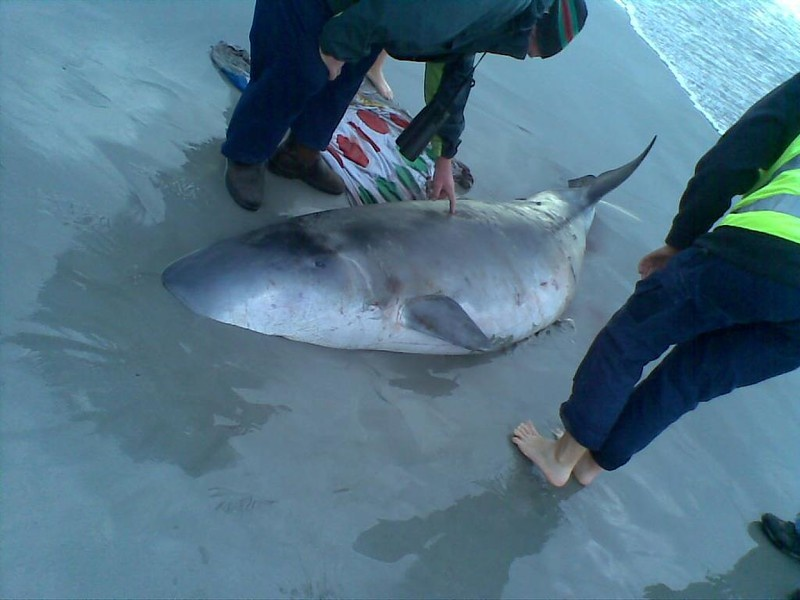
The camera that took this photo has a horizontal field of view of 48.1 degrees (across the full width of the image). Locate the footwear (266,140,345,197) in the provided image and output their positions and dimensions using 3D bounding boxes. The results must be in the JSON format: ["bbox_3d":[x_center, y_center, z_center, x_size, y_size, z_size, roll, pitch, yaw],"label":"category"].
[{"bbox_3d":[-0.494,-0.687,4.810,0.497,0.310,0.159,15,64,-31],"label":"footwear"}]

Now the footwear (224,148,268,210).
[{"bbox_3d":[-0.788,-0.593,4.510,0.125,0.134,0.341,-11,46,-32],"label":"footwear"}]

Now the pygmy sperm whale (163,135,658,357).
[{"bbox_3d":[0.139,-0.131,4.479,2.273,0.723,0.783,-18,37,-22],"label":"pygmy sperm whale"}]
